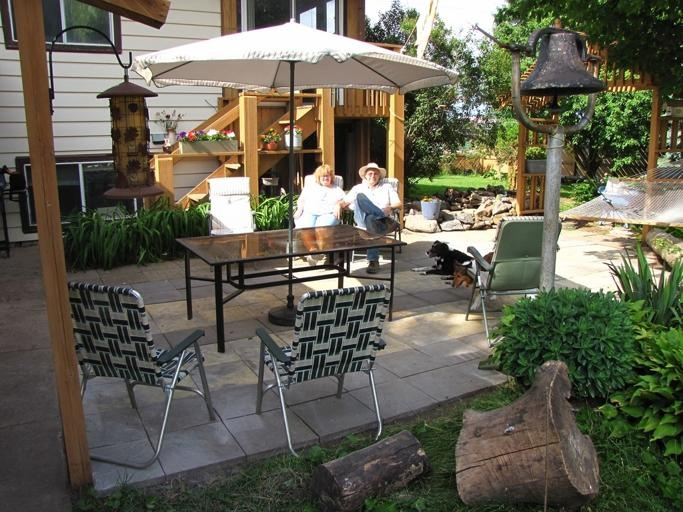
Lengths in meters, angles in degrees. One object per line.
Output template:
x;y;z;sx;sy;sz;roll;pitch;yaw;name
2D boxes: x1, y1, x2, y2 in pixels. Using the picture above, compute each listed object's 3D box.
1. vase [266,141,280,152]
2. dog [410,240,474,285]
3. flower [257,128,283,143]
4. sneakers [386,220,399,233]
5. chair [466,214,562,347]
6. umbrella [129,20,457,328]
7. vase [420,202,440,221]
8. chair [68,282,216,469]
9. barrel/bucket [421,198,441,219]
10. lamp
-1.294;-2.045;9.756;0.191;0.131;0.187;-5;2;-15;vase
1.540;0.130;7.411;1.030;0.457;0.377;14;19;40;dog
-1.307;-2.254;9.823;0.351;0.180;0.358;-9;17;-24;flower
0.763;-0.448;7.852;0.179;0.186;0.213;-1;0;-42;sneakers
1.763;0.185;5.597;0.798;1.217;0.957;0;12;-1;chair
-0.544;-0.665;6.324;3.836;3.133;3.753;1;10;-4;umbrella
1.886;-0.936;10.919;0.379;0.275;0.376;-1;7;-4;vase
-1.491;0.784;3.881;0.994;1.184;1.050;8;10;42;chair
1.894;-0.994;11.050;0.428;0.323;0.424;0;5;0;barrel/bucket
-2.733;-1.752;6.138;1.139;1.772;0.629;-5;1;-27;lamp
